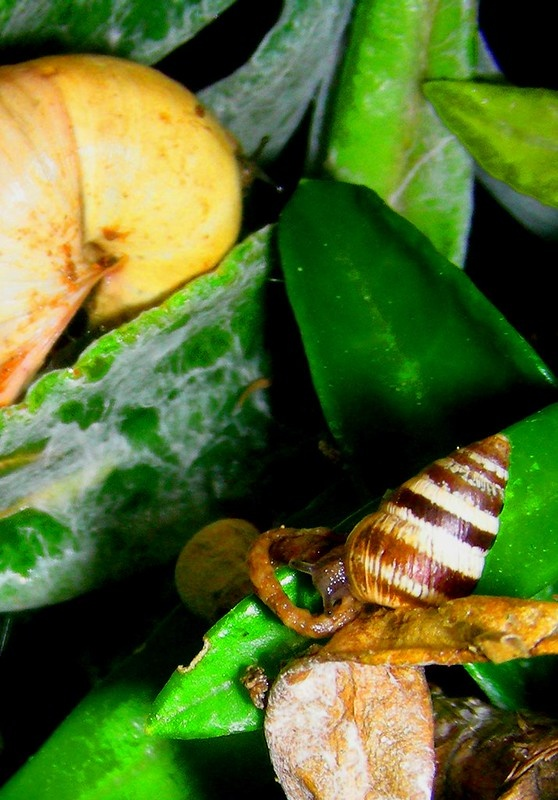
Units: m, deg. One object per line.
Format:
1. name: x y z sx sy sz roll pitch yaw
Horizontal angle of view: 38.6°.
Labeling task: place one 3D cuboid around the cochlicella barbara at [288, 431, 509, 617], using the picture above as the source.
1. cochlicella barbara: 0.075 0.077 0.495 0.125 0.044 0.074 -45 79 1
